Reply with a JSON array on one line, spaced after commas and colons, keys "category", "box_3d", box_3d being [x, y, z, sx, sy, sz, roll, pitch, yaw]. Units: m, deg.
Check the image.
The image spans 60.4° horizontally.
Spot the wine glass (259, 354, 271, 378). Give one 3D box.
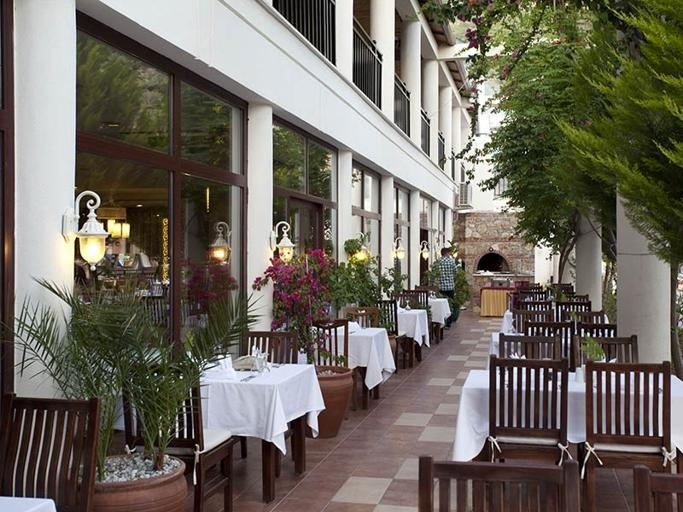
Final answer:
[{"category": "wine glass", "box_3d": [-0.688, 0.974, 5.199, 0.117, 0.239, 0.131, -2, 2, 2]}]

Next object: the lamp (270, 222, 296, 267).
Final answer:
[{"category": "lamp", "box_3d": [-0.743, -0.155, 7.400, 0.247, 0.638, 0.235, 0, -7, 3]}]

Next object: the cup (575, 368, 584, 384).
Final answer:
[{"category": "cup", "box_3d": [1.949, 0.975, 4.763, 0.053, 0.117, 0.107, 1, 0, -5]}]

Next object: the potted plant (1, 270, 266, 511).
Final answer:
[{"category": "potted plant", "box_3d": [-1.407, 0.799, 3.867, 1.138, 1.034, 1.218, 6, -13, -17]}]

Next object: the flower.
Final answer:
[{"category": "flower", "box_3d": [-0.490, 0.588, 7.159, 1.208, 1.789, 1.175, 0, -11, -13]}]

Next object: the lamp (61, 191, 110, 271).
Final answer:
[{"category": "lamp", "box_3d": [-1.831, -0.188, 4.228, 0.262, 0.577, 0.203, 1, -4, -28]}]

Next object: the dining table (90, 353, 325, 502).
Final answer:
[{"category": "dining table", "box_3d": [-0.721, 1.366, 5.001, 0.853, 0.858, 0.995, 0, -10, 18]}]

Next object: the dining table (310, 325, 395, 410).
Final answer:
[{"category": "dining table", "box_3d": [0.299, 1.461, 7.639, 0.940, 0.716, 1.025, -7, -11, -41]}]

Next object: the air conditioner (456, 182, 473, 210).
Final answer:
[{"category": "air conditioner", "box_3d": [5.164, -2.533, 24.883, 0.605, 1.634, 1.325, 1, 1, 13]}]

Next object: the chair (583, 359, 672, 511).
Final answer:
[{"category": "chair", "box_3d": [2.028, 1.272, 4.179, 0.674, 1.121, 0.730, 0, 0, 9]}]

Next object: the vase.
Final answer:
[{"category": "vase", "box_3d": [-0.157, 1.479, 6.004, 0.508, 0.694, 0.578, 1, -3, -1]}]
